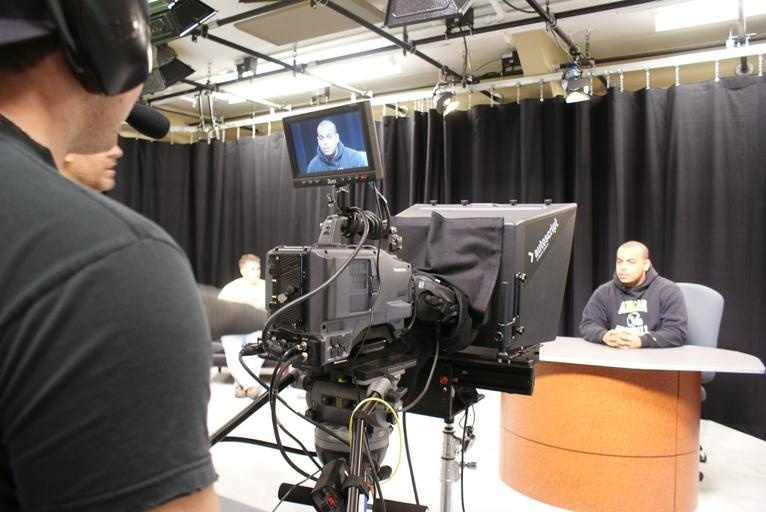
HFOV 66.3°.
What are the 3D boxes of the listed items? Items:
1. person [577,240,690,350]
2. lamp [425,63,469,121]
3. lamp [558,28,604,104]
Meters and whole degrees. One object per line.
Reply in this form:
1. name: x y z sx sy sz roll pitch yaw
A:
1. person: 1.487 0.335 3.484 0.563 0.824 0.576 -4 -7 40
2. lamp: 0.525 -1.356 4.747 0.153 0.348 0.188 -6 4 -43
3. lamp: 1.478 -1.423 4.320 0.296 0.584 0.192 1 2 4
